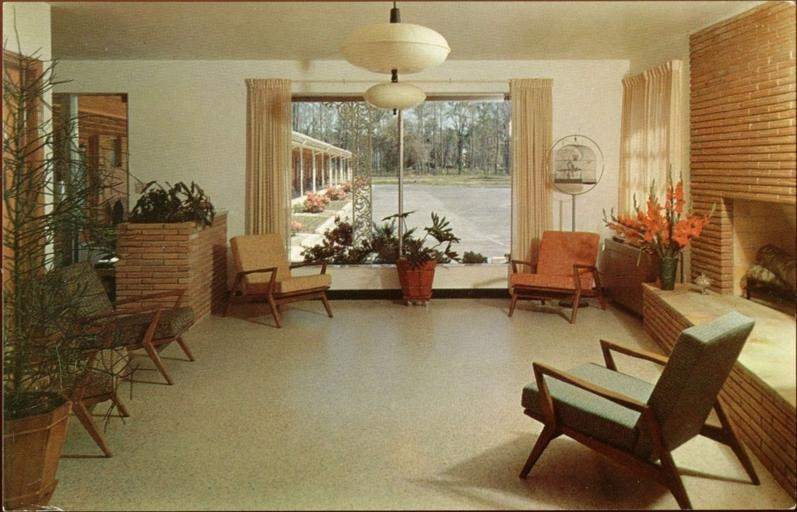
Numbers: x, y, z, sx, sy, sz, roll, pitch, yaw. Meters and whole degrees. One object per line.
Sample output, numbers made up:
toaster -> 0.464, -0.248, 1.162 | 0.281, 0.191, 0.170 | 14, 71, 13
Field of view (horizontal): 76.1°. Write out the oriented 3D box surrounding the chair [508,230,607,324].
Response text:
chair -> 2.251, 0.210, 7.239 | 0.974, 0.927, 1.224 | 4, 14, 37

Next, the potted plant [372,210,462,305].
potted plant -> 0.585, 0.075, 7.858 | 1.424, 1.169, 1.184 | 7, -9, 3

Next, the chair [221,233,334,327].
chair -> -1.665, 0.262, 7.127 | 1.244, 0.912, 1.053 | 14, 15, 42

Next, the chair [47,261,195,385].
chair -> -2.728, 0.625, 5.068 | 1.232, 0.952, 0.853 | 2, 7, -14

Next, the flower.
flower -> 3.212, -0.372, 6.207 | 0.828, 0.757, 0.914 | 2, -1, 38

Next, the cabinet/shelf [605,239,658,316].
cabinet/shelf -> 3.148, 0.287, 6.826 | 0.392, 0.584, 1.114 | -2, 7, -1

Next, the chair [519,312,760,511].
chair -> 1.670, 0.898, 3.986 | 1.697, 1.260, 1.261 | 3, 4, 41
